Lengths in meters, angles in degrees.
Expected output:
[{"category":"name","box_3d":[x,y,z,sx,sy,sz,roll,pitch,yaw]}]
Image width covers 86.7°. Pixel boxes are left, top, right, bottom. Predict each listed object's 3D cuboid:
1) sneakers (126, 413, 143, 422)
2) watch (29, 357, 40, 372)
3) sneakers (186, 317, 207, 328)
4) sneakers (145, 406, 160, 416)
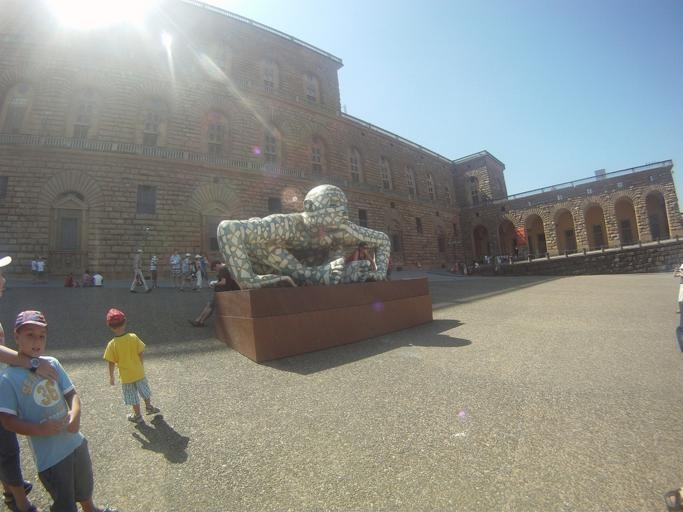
[{"category":"sneakers","box_3d":[-2.031,1.620,3.549,0.156,0.074,0.068,1,-6,17]},{"category":"watch","box_3d":[-2.101,0.755,2.475,0.051,0.081,0.081,8,-37,-15]},{"category":"sneakers","box_3d":[-2.740,1.319,6.843,0.336,0.134,0.190,6,-19,25]},{"category":"sneakers","box_3d":[-1.926,1.601,3.693,0.131,0.097,0.065,-1,-3,-24]}]
